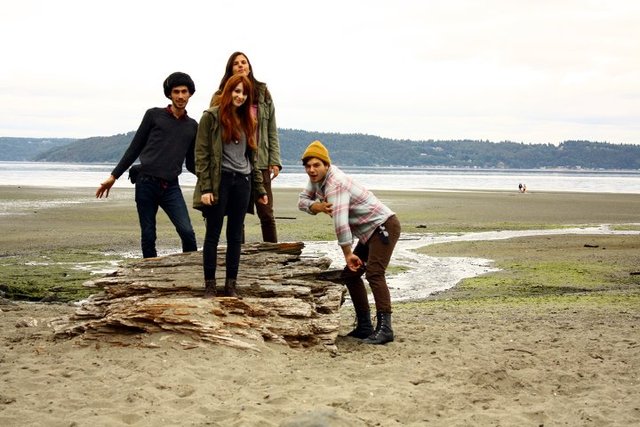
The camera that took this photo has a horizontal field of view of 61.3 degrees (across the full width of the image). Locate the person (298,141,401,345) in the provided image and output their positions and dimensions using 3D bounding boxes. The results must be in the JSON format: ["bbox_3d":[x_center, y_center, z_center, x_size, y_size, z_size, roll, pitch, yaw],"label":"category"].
[{"bbox_3d":[0.523,0.497,8.750,1.497,3.291,1.194,3,7,7],"label":"person"}]

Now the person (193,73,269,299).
[{"bbox_3d":[-1.423,-0.393,8.347,0.570,3.433,1.131,8,9,43],"label":"person"}]

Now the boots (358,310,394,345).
[{"bbox_3d":[0.931,1.866,8.894,0.693,0.496,0.337,4,-3,-42],"label":"boots"}]

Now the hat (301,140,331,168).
[{"bbox_3d":[-0.031,-0.975,8.522,0.612,0.405,0.502,2,-14,0],"label":"hat"}]

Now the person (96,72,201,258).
[{"bbox_3d":[-2.696,-0.742,8.980,1.306,3.074,0.584,1,7,-9],"label":"person"}]
